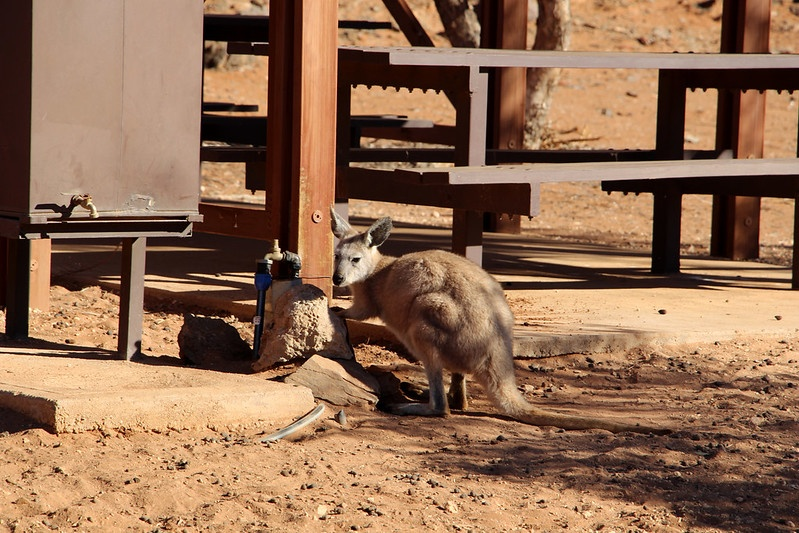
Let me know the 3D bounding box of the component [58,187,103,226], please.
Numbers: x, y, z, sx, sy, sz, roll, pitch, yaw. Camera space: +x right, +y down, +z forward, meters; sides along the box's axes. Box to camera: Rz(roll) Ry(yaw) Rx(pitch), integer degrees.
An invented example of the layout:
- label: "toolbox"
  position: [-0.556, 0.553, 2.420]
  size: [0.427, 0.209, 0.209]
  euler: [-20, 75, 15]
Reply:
- label: "component"
  position: [-2.429, -0.466, 9.799]
  size: [0.293, 0.202, 0.128]
  euler: [1, 3, -20]
